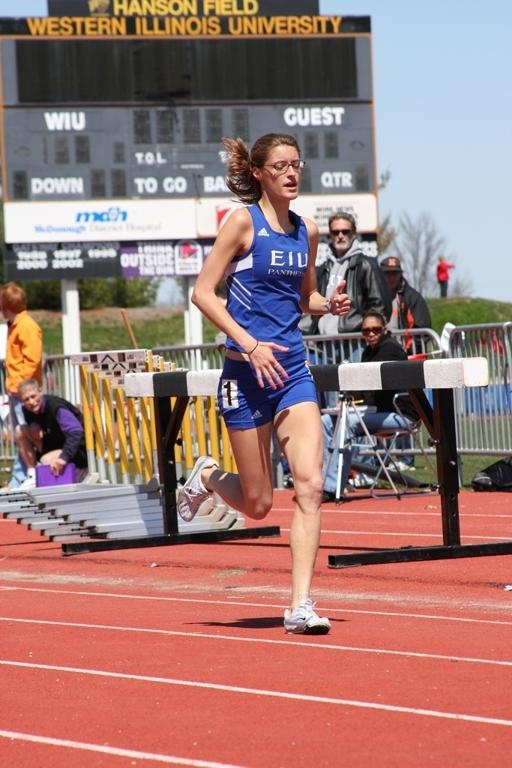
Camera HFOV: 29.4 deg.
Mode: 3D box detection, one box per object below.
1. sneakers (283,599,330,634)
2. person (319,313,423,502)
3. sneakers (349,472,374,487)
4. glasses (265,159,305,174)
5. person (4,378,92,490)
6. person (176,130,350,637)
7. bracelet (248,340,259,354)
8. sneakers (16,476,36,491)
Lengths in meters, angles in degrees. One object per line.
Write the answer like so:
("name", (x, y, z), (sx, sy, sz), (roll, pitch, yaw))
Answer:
("sneakers", (0.159, 0.823, 3.428), (0.081, 0.099, 0.208), (10, -14, -42))
("person", (0.975, 0.253, 8.072), (0.926, 1.266, 0.773), (-9, 8, 2))
("sneakers", (1.040, 0.921, 9.590), (0.177, 0.073, 0.225), (5, 4, 4))
("glasses", (0.090, -0.807, 3.655), (0.094, 0.027, 0.095), (-4, -1, -32))
("person", (-1.678, 0.426, 8.221), (0.726, 0.910, 0.781), (-13, 17, -41))
("person", (0.051, 0.005, 3.748), (0.561, 1.960, 1.003), (-2, 5, 0))
("bracelet", (-0.003, -0.125, 3.408), (0.028, 0.045, 0.047), (1, 6, 35))
("sneakers", (-1.960, 0.849, 8.324), (0.126, 0.148, 0.358), (5, -13, -22))
